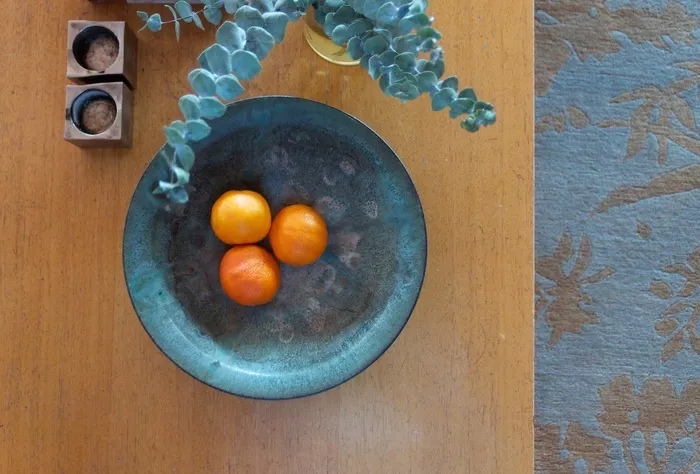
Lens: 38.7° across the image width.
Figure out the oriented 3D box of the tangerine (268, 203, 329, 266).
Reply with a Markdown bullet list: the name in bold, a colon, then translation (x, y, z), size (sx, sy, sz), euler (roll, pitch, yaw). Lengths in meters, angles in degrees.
- **tangerine**: translation (-0.100, -0.004, 1.934), size (0.115, 0.151, 0.133), euler (3, -12, -5)
